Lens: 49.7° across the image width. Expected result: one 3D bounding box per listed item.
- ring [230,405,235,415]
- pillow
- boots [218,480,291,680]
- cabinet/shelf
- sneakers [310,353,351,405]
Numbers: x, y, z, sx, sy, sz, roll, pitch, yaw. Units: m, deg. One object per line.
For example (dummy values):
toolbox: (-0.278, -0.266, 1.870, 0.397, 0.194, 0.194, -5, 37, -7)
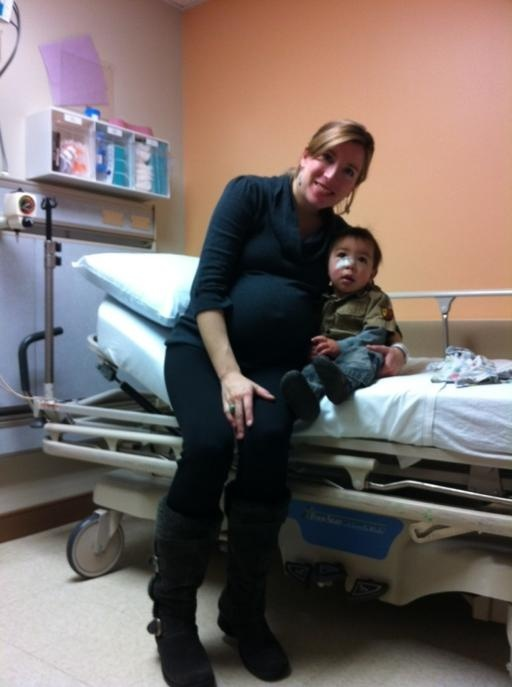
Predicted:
ring: (-0.042, 0.120, 1.004, 0.011, 0.014, 0.005, -11, -10, -10)
pillow: (-0.311, -0.152, 1.428, 0.260, 0.077, 0.264, 21, 26, 7)
boots: (0.004, 0.451, 1.047, 0.119, 0.367, 0.092, 0, -2, 2)
cabinet/shelf: (-0.621, -0.760, 2.295, 0.186, 0.304, 0.615, -2, -3, 41)
sneakers: (0.149, 0.072, 1.042, 0.045, 0.119, 0.047, -10, 33, 24)
